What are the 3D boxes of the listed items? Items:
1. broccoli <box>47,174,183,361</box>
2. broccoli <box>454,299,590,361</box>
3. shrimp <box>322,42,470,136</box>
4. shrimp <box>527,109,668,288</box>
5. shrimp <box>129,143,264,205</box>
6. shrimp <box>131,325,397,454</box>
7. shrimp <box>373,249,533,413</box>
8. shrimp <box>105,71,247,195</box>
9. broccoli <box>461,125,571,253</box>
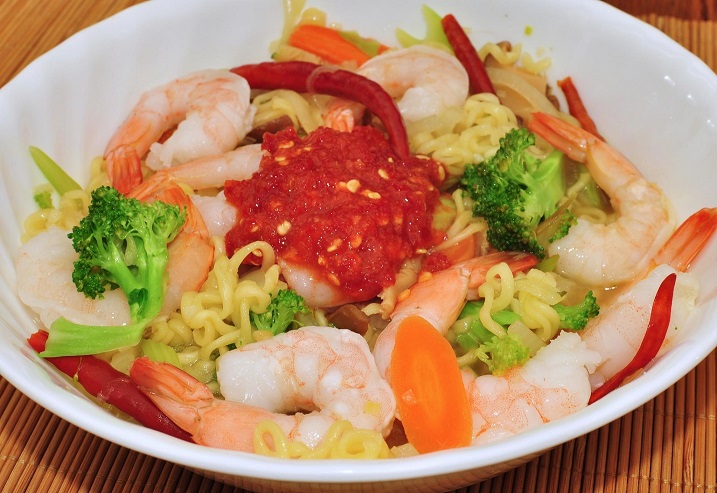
[{"bbox_3d":[-1.239,0.157,3.223,0.516,0.249,0.895,9,80,0],"label":"broccoli"},{"bbox_3d":[0.853,0.404,3.376,0.486,0.380,0.126,-9,112,15],"label":"broccoli"},{"bbox_3d":[0.269,-1.008,4.017,0.760,0.218,0.574,-5,76,4],"label":"shrimp"},{"bbox_3d":[1.381,-0.255,3.834,0.903,0.203,0.677,40,86,14],"label":"shrimp"},{"bbox_3d":[-0.926,-0.411,3.632,0.678,0.203,0.193,-19,87,7],"label":"shrimp"},{"bbox_3d":[-0.439,0.701,3.068,1.213,0.383,0.568,-6,80,-2],"label":"shrimp"},{"bbox_3d":[0.483,0.359,3.452,0.474,0.279,0.950,31,83,25],"label":"shrimp"},{"bbox_3d":[-1.098,-0.760,3.842,0.872,0.261,0.702,-45,55,-14],"label":"shrimp"},{"bbox_3d":[0.851,-0.358,3.673,0.644,0.337,0.680,57,38,-21],"label":"broccoli"}]
